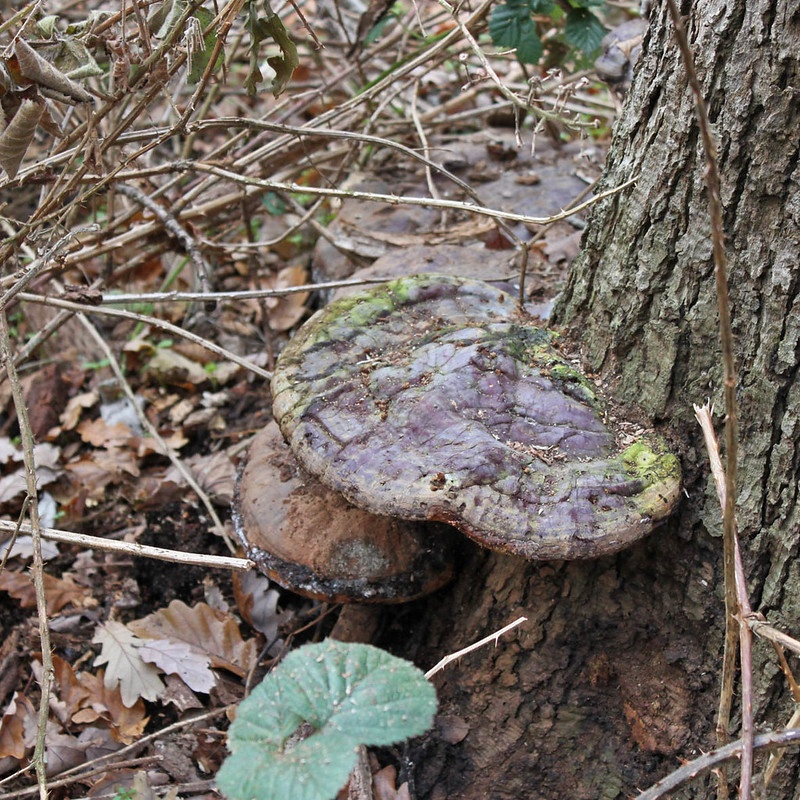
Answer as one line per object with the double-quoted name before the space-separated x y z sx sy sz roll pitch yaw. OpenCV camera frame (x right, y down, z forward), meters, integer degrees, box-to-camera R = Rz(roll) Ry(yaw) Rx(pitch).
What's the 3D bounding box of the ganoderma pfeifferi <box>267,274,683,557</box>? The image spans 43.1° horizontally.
"ganoderma pfeifferi" 0.151 0.027 2.829 0.847 0.294 1.143 -13 45 -25
